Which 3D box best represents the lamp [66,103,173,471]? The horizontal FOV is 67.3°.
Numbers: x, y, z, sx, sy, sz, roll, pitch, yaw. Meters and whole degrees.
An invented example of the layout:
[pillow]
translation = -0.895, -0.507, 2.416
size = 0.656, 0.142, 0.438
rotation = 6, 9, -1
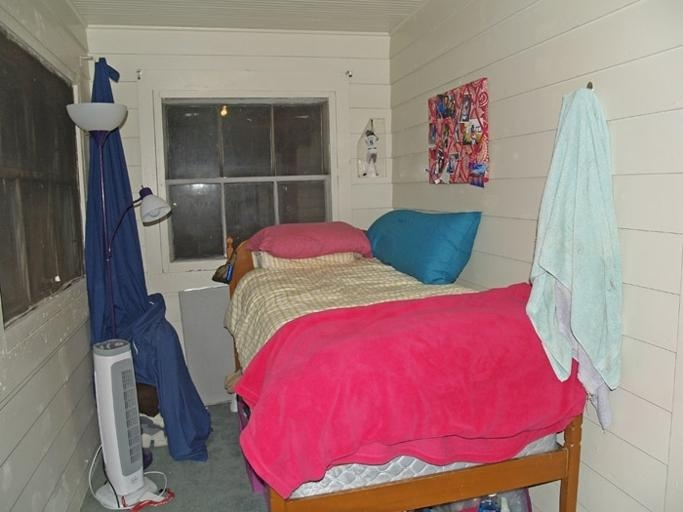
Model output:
[lamp]
translation = -1.329, 0.148, 3.179
size = 0.513, 2.082, 0.816
rotation = -4, 10, -24
